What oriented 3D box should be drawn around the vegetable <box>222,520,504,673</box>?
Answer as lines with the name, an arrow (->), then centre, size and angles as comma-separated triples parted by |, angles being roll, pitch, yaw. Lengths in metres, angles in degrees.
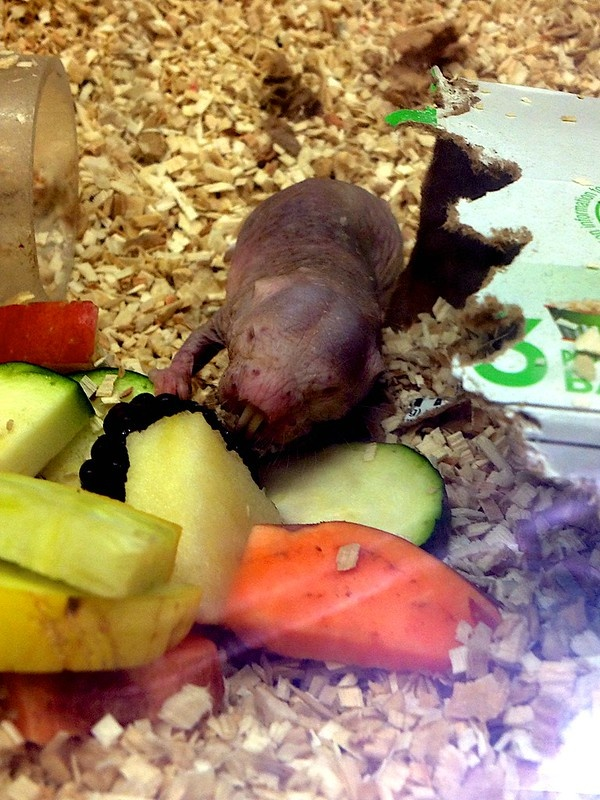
vegetable -> 0.073, 0.245, 1.051 | 0.388, 0.077, 0.171 | 21, 56, -22

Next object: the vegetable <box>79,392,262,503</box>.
vegetable -> -0.212, 0.056, 1.140 | 0.243, 0.081, 0.296 | -18, 14, -39

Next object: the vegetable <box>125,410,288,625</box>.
vegetable -> -0.158, 0.154, 1.076 | 0.213, 0.091, 0.234 | 3, 62, -42
